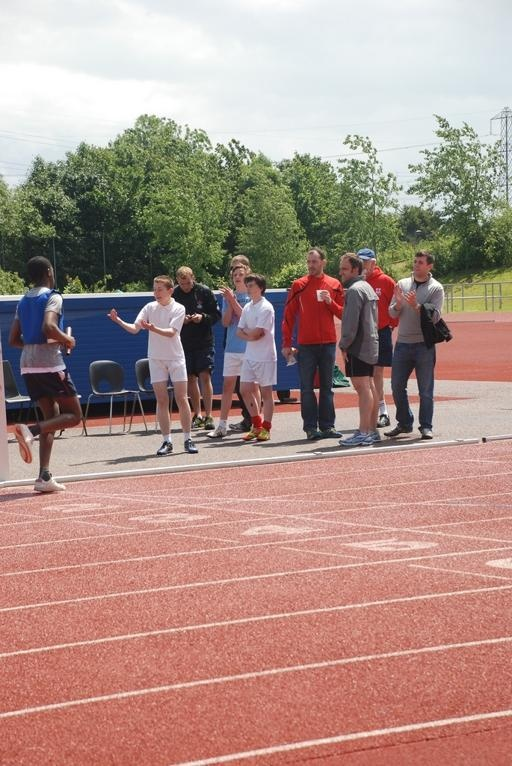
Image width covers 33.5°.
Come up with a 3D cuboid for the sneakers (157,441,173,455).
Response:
[{"bbox_3d":[-0.982,0.693,9.179,0.163,0.142,0.336,-2,4,-4],"label":"sneakers"}]

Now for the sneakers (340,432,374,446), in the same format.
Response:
[{"bbox_3d":[1.090,0.601,9.239,0.418,0.194,0.141,0,0,-13],"label":"sneakers"}]

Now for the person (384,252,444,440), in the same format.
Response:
[{"bbox_3d":[1.816,-0.435,9.866,0.671,2.134,1.047,-1,4,12],"label":"person"}]

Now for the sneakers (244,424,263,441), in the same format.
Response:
[{"bbox_3d":[-0.061,0.613,10.174,0.109,0.148,0.292,-8,-3,-41],"label":"sneakers"}]

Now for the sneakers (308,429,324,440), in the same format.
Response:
[{"bbox_3d":[0.671,0.605,9.864,0.153,0.115,0.100,-3,4,-6],"label":"sneakers"}]

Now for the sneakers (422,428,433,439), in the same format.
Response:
[{"bbox_3d":[1.894,0.572,9.485,0.130,0.119,0.177,-1,4,10],"label":"sneakers"}]

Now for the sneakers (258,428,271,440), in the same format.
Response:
[{"bbox_3d":[0.088,0.597,10.019,0.120,0.166,0.360,3,-3,0],"label":"sneakers"}]

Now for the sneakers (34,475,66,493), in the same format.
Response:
[{"bbox_3d":[-1.731,0.859,7.197,0.298,0.137,0.102,2,3,-21],"label":"sneakers"}]

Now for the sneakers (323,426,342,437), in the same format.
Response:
[{"bbox_3d":[0.904,0.590,10.073,0.091,0.098,0.243,3,-6,-35],"label":"sneakers"}]

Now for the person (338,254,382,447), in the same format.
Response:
[{"bbox_3d":[1.104,-0.213,9.253,0.385,1.775,0.567,-1,5,18],"label":"person"}]

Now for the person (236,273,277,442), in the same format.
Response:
[{"bbox_3d":[0.011,-0.319,10.186,0.426,1.979,0.683,-2,4,0],"label":"person"}]

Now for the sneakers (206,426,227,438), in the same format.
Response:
[{"bbox_3d":[-0.483,0.584,10.501,0.212,0.185,0.261,-2,4,2],"label":"sneakers"}]

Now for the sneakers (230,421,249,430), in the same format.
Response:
[{"bbox_3d":[-0.217,0.560,11.255,0.257,0.112,0.105,1,3,7],"label":"sneakers"}]

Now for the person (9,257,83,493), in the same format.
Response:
[{"bbox_3d":[-1.779,-0.075,7.160,0.568,1.986,0.751,-3,4,-12],"label":"person"}]

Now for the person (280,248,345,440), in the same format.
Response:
[{"bbox_3d":[0.668,-0.468,10.061,0.734,2.241,0.759,-1,4,9],"label":"person"}]

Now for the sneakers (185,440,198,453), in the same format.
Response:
[{"bbox_3d":[-0.704,0.677,9.246,0.136,0.141,0.264,-3,4,-6],"label":"sneakers"}]

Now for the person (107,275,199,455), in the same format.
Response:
[{"bbox_3d":[-0.978,-0.208,9.279,0.681,1.923,0.727,1,6,40],"label":"person"}]
